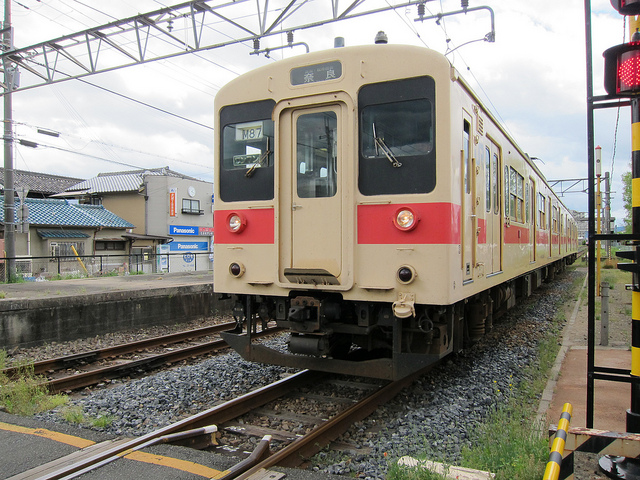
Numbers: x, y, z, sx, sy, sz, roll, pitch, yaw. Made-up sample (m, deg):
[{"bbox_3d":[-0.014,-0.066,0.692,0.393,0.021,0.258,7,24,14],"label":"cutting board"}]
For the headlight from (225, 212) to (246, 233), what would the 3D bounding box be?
[{"bbox_3d":[-1.143,-0.246,7.134,0.211,0.211,0.083,-34,-21,26],"label":"headlight"}]

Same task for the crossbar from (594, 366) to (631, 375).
[{"bbox_3d":[2.858,1.263,5.072,0.205,0.049,0.195,-1,-4,36],"label":"crossbar"}]

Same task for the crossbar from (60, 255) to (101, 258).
[{"bbox_3d":[-9.167,0.627,20.100,0.946,0.084,2.914,-2,-2,-16],"label":"crossbar"}]

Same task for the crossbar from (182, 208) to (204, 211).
[{"bbox_3d":[-8.637,-2.114,35.937,0.128,0.134,1.894,-4,-2,25],"label":"crossbar"}]

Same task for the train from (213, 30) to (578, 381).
[{"bbox_3d":[1.234,-0.374,7.894,2.909,4.617,4.463,-4,-2,43],"label":"train"}]

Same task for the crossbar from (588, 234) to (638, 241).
[{"bbox_3d":[2.735,-0.030,4.861,0.401,0.058,0.252,-4,-2,28],"label":"crossbar"}]
